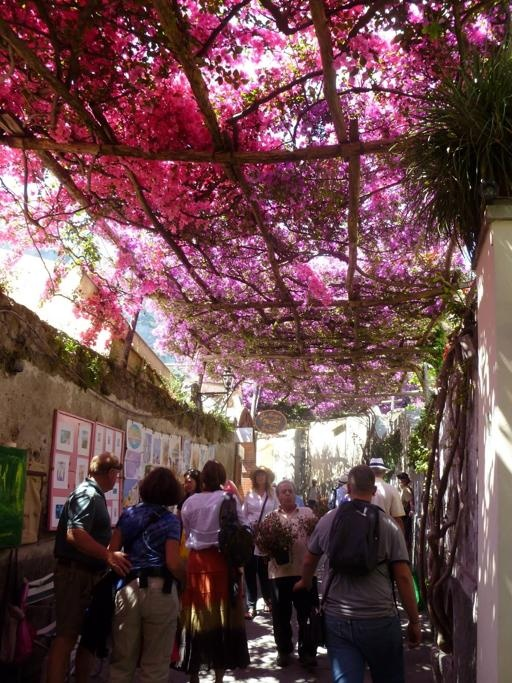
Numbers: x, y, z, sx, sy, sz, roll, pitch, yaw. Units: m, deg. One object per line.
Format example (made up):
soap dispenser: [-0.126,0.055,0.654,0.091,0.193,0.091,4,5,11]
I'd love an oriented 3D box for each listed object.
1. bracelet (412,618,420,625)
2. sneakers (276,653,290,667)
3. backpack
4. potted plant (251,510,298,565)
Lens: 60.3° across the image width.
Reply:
bracelet: [0.815,1.416,2.241,0.041,0.010,0.040,1,-12,2]
sneakers: [0.274,3.142,4.376,0.138,0.085,0.182,3,-17,1]
backpack: [0.512,0.975,2.200,0.280,0.401,0.219,-1,-42,14]
potted plant: [0.210,2.055,4.863,0.514,0.566,0.437,0,4,2]
